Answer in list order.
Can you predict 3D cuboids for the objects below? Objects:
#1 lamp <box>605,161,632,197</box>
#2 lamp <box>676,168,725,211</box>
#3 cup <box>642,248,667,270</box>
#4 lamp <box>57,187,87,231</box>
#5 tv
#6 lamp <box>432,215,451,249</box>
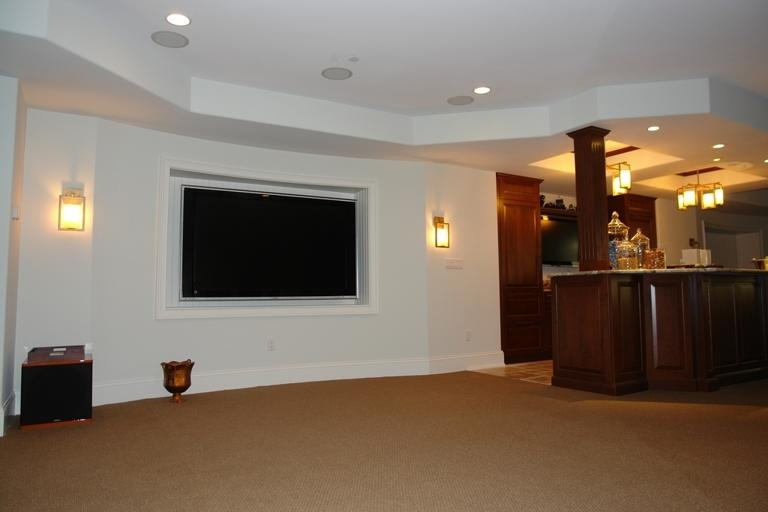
[{"bbox_3d":[3.277,-1.108,7.224,0.198,0.374,0.253,0,-2,-12],"label":"lamp"},{"bbox_3d":[4.931,-1.117,8.206,0.690,0.760,0.686,0,-3,-39],"label":"lamp"},{"bbox_3d":[3.448,0.033,6.656,0.252,0.248,0.259,-1,-3,0],"label":"cup"},{"bbox_3d":[-3.318,-0.484,5.576,0.273,0.461,0.163,-2,3,-35],"label":"lamp"},{"bbox_3d":[-1.418,-0.126,6.867,2.337,1.365,0.140,2,-4,-28],"label":"tv"},{"bbox_3d":[0.857,-0.342,7.576,0.286,0.467,0.130,-3,3,-45],"label":"lamp"}]
